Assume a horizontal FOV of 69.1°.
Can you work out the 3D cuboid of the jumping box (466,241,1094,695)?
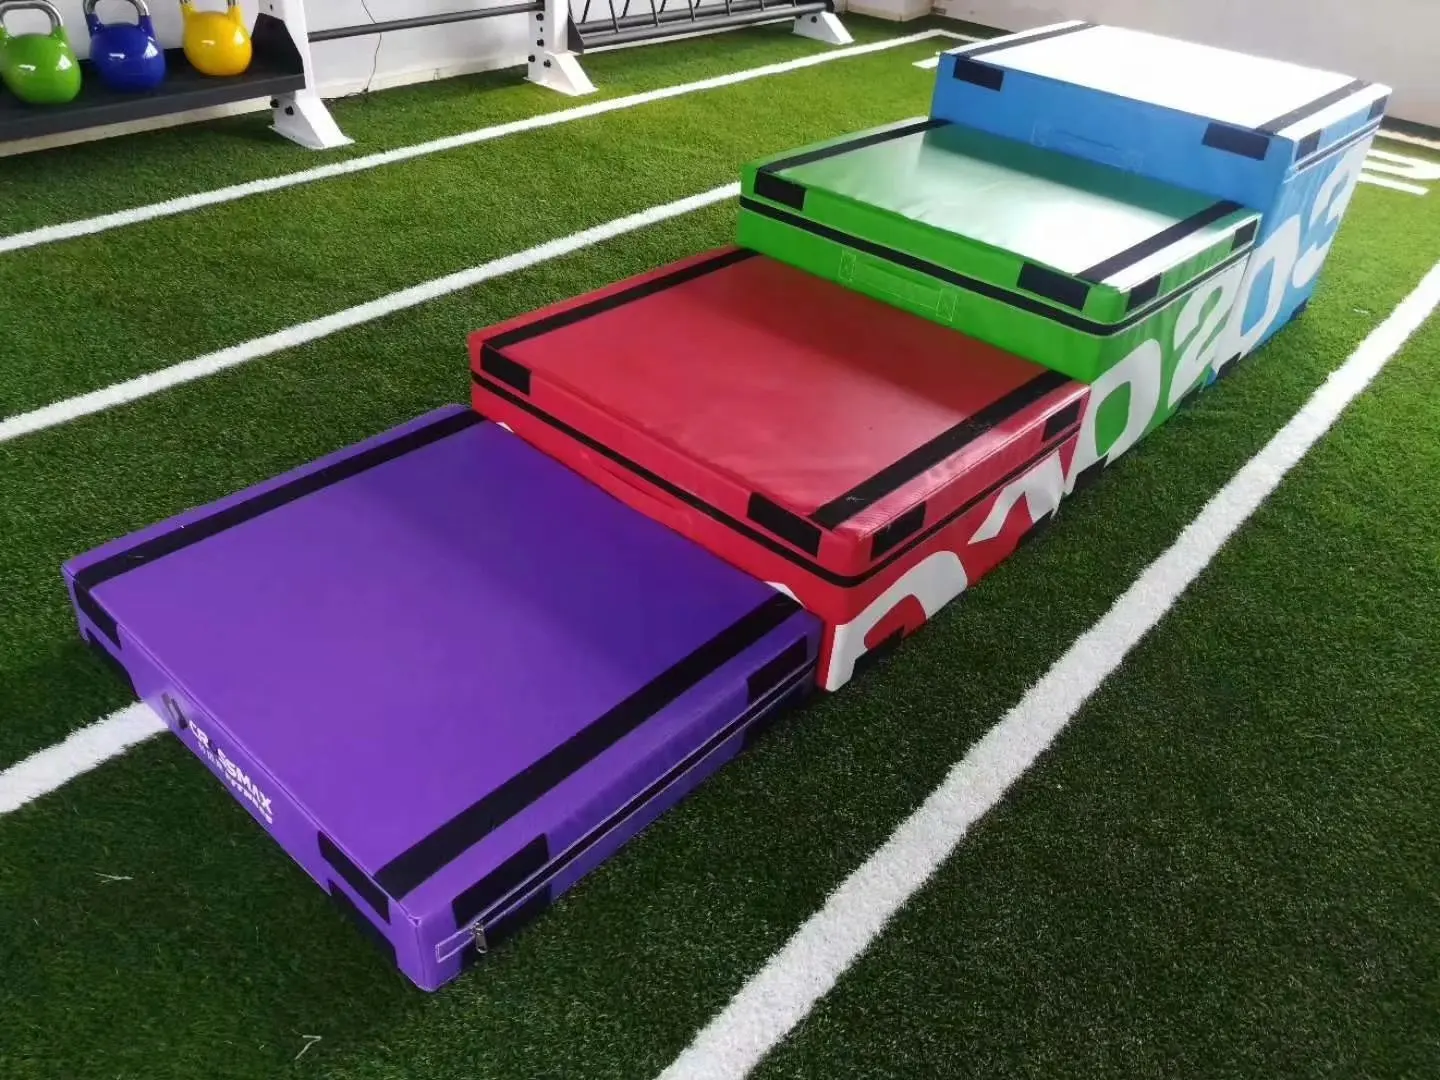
[{"bbox_3d":[0.145,-0.254,1.797,0.998,0.347,0.792,34,47,31],"label":"jumping box"}]
